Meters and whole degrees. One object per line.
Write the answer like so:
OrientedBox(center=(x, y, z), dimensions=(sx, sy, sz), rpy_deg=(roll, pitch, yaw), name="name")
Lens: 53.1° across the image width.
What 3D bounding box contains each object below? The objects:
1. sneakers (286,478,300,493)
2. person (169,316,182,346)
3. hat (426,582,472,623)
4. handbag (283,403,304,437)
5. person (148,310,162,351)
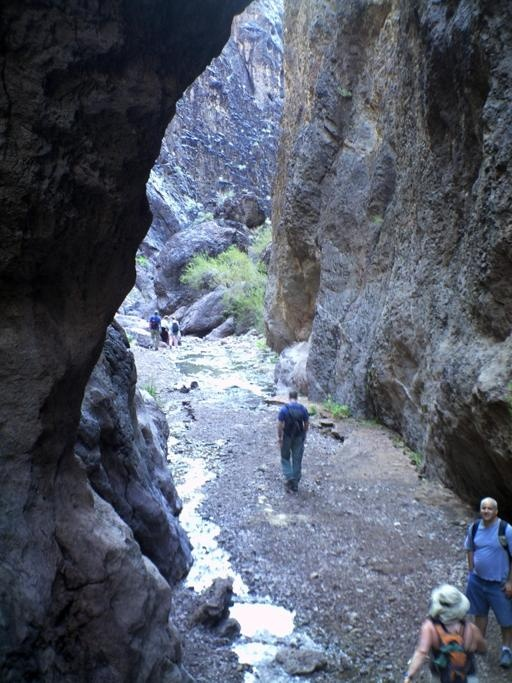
OrientedBox(center=(0.435, 1.706, 6.102), dimensions=(0.131, 0.155, 0.125), rpy_deg=(-2, -7, 33), name="sneakers")
OrientedBox(center=(-3.250, -0.375, 20.566), dimensions=(0.447, 1.015, 1.837), rpy_deg=(-5, 8, -9), name="person")
OrientedBox(center=(0.931, 1.214, 2.471), dimensions=(0.134, 0.192, 0.202), rpy_deg=(3, 2, 12), name="hat")
OrientedBox(center=(0.437, 0.907, 5.973), dimensions=(0.282, 0.399, 0.199), rpy_deg=(2, 12, 11), name="handbag")
OrientedBox(center=(-3.849, -0.488, 19.702), dimensions=(0.408, 1.417, 2.051), rpy_deg=(-5, 8, -11), name="person")
